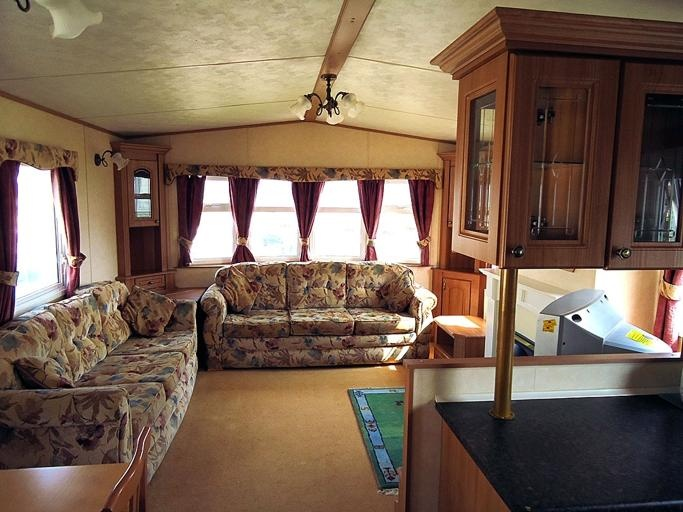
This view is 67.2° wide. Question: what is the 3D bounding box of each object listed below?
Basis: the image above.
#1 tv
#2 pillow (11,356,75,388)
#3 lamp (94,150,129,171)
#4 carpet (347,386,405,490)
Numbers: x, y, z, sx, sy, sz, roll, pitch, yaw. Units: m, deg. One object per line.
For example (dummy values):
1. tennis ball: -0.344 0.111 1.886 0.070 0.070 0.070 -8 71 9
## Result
1. tv: 1.404 0.289 2.790 0.512 0.345 0.444 7 11 39
2. pillow: -1.697 0.671 2.974 0.321 0.186 0.150 3 12 11
3. lamp: -2.354 -0.978 5.224 0.318 0.223 0.153 -11 3 9
4. carpet: 0.408 1.394 4.111 0.420 1.391 0.025 -12 40 6
